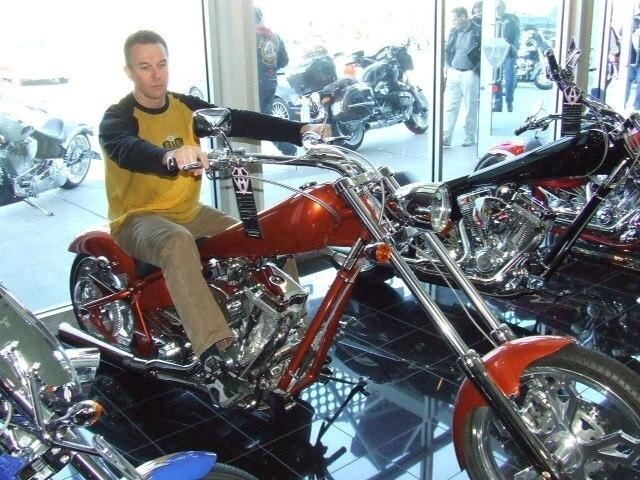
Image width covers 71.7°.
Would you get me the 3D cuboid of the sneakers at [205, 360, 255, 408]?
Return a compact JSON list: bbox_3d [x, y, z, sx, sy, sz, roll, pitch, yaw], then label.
[{"bbox_3d":[-0.416,0.634,2.018,0.291,0.154,0.086,21,10,7],"label":"sneakers"}]
